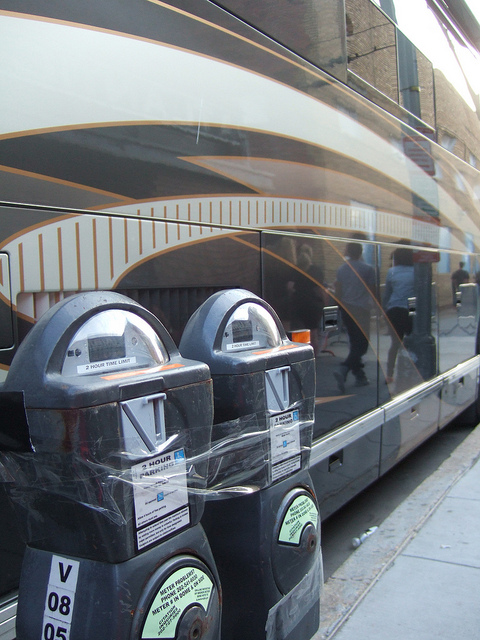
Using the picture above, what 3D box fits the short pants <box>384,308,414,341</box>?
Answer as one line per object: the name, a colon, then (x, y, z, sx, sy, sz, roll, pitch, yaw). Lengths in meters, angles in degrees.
short pants: (1.261, 0.036, 4.211, 0.129, 0.230, 0.215, 15, 3, 38)
